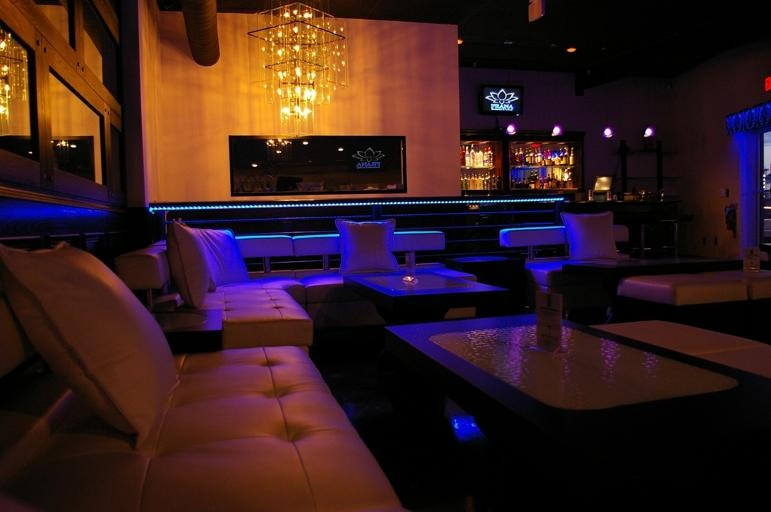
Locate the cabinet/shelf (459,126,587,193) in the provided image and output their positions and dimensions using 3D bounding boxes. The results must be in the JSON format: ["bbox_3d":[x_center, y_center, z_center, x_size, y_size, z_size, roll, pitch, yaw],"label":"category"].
[{"bbox_3d":[2.266,-1.490,10.157,2.109,1.057,0.430,0,3,4],"label":"cabinet/shelf"}]

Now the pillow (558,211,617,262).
[{"bbox_3d":[2.073,-0.188,6.125,0.603,0.543,0.226,-3,-16,-18],"label":"pillow"}]

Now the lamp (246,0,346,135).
[{"bbox_3d":[-0.984,-2.122,6.694,1.004,1.556,1.383,0,9,7],"label":"lamp"}]

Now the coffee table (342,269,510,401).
[{"bbox_3d":[0.329,0.584,4.235,0.780,0.508,1.059,1,0,-15],"label":"coffee table"}]

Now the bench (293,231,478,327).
[{"bbox_3d":[-0.041,0.091,5.631,1.529,0.962,0.796,-2,3,-16],"label":"bench"}]

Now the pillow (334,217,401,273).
[{"bbox_3d":[-0.176,-0.098,5.707,0.494,0.469,0.171,-6,-10,-12],"label":"pillow"}]
